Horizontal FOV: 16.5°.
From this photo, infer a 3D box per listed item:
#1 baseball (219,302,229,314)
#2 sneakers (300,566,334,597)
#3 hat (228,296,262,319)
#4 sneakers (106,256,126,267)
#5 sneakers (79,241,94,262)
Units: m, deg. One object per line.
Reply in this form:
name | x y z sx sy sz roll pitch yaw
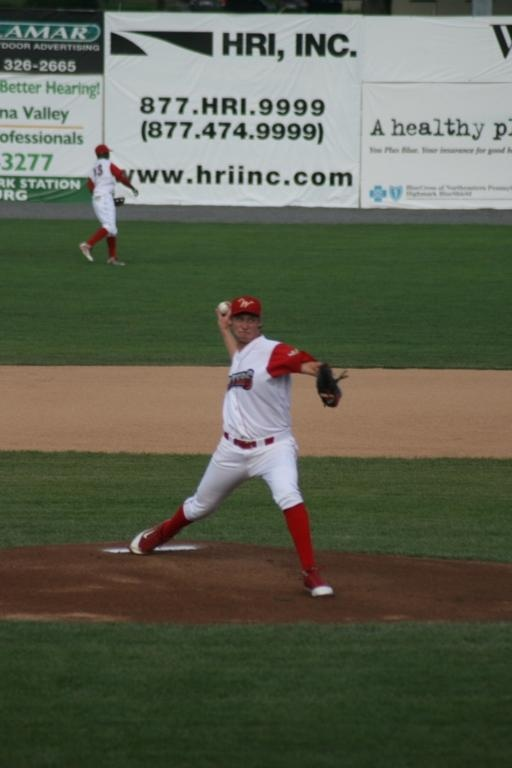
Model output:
baseball | -0.213 -0.523 12.005 0.059 0.071 0.066 -4 14 10
sneakers | 0.432 1.335 11.957 0.206 0.227 0.300 2 11 3
hat | -0.065 -0.527 11.962 0.197 0.133 0.264 1 12 -2
sneakers | -1.859 -1.638 23.666 0.285 0.139 0.105 14 58 12
sneakers | -2.271 -1.786 23.788 0.131 0.353 0.120 -14 44 6
